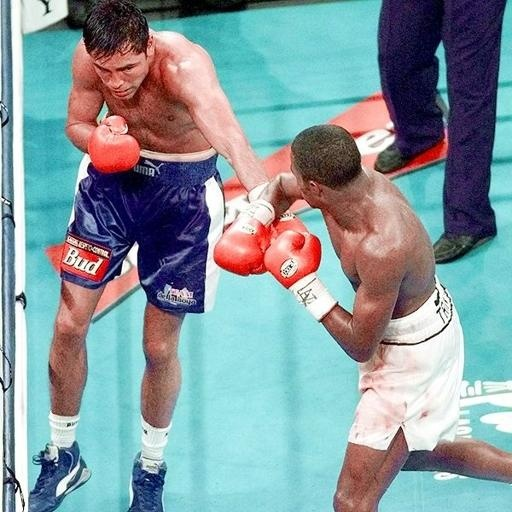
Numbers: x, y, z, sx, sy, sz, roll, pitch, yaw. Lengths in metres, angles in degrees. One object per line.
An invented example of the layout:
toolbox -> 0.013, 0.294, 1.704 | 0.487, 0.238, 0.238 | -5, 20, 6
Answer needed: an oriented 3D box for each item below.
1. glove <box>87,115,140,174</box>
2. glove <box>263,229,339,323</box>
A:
glove -> -0.500, -0.383, 2.329 | 0.158, 0.170, 0.190 | -9, 34, -20
glove -> 0.155, 0.056, 2.088 | 0.223, 0.273, 0.117 | -7, 13, 26
